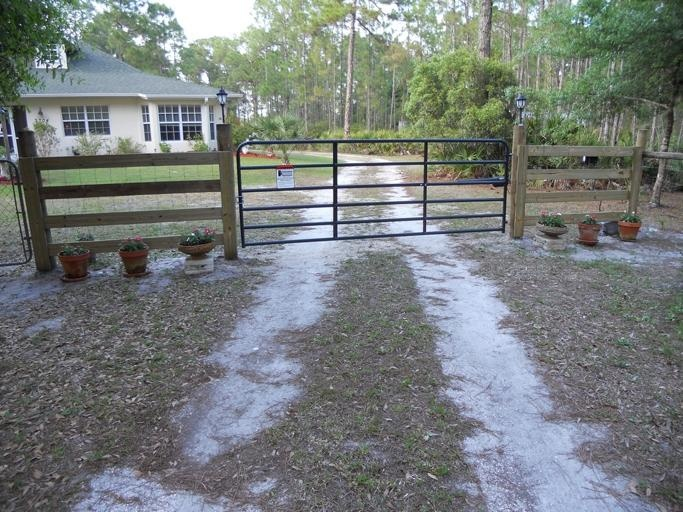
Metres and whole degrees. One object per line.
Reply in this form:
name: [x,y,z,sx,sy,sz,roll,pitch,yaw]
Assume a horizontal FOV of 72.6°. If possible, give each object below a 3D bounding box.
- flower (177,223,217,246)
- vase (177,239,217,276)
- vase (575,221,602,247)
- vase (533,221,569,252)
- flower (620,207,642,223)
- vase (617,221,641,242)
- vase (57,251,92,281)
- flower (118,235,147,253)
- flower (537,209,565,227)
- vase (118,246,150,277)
flower: [-1.935,-0.276,6.206,0.314,0.168,0.309,-7,12,-30]
vase: [-1.898,0.006,6.084,0.486,0.335,0.433,-1,5,-12]
vase: [3.808,-0.350,7.347,0.393,0.314,0.377,-5,9,-26]
vase: [3.312,-0.289,7.381,0.515,0.306,0.477,-6,11,-35]
flower: [4.713,-0.640,7.650,0.371,0.203,0.406,1,13,45]
vase: [4.644,-0.383,7.506,0.332,0.243,0.319,1,2,-5]
vase: [-3.289,0.116,5.768,0.374,0.313,0.353,1,9,12]
flower: [-2.601,-0.138,5.814,0.246,0.140,0.248,-1,18,-3]
flower: [3.361,-0.605,7.580,0.328,0.187,0.331,-1,7,-1]
vase: [-2.540,0.070,5.861,0.358,0.324,0.359,2,6,31]
